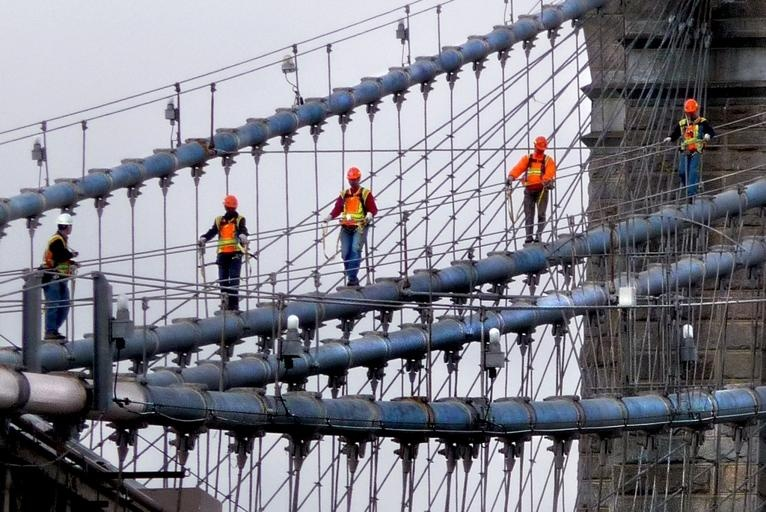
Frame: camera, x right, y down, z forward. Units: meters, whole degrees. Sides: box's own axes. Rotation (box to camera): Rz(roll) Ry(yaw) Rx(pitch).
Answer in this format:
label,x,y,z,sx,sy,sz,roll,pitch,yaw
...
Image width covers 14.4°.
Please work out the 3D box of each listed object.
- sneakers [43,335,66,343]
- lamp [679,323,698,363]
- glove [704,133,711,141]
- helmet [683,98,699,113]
label,x,y,z,sx,sy,sz,roll,pitch,yaw
sneakers,-9.696,2.320,89.122,0.637,0.254,0.249,-1,-1,5
lamp,9.152,2.434,91.389,0.437,1.222,1.781,-6,-11,5
glove,10.316,-3.832,96.478,0.154,0.206,0.088,-1,6,19
helmet,9.952,-4.911,97.985,0.422,0.312,0.583,-5,9,10
